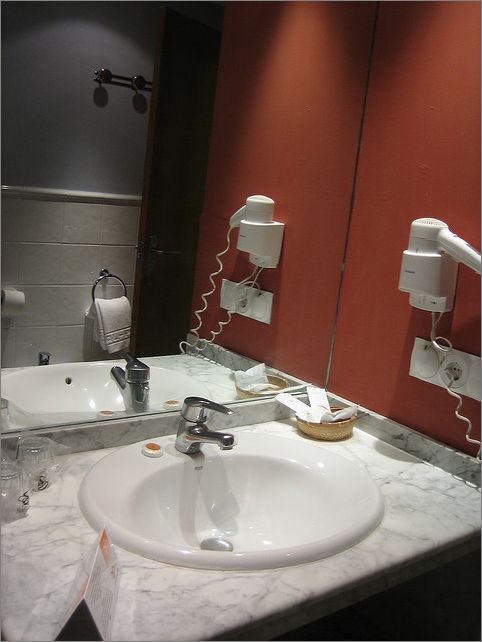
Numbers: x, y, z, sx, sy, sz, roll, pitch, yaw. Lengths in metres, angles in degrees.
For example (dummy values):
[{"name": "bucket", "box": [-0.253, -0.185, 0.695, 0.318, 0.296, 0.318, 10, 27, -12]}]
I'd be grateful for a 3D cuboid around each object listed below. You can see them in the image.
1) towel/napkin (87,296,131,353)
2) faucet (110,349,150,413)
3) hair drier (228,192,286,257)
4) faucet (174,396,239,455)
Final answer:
[{"name": "towel/napkin", "box": [-0.271, 0.002, 1.014, 0.094, 0.116, 0.047, -14, 23, -42]}, {"name": "faucet", "box": [-0.250, 0.148, 1.122, 0.046, 0.093, 0.153, -2, 1, -32]}, {"name": "hair drier", "box": [0.043, -0.239, 1.289, 0.097, 0.148, 0.143, -8, 19, -35]}, {"name": "faucet", "box": [-0.073, 0.203, 0.961, 0.147, 0.111, 0.050, 5, 6, 40]}]
